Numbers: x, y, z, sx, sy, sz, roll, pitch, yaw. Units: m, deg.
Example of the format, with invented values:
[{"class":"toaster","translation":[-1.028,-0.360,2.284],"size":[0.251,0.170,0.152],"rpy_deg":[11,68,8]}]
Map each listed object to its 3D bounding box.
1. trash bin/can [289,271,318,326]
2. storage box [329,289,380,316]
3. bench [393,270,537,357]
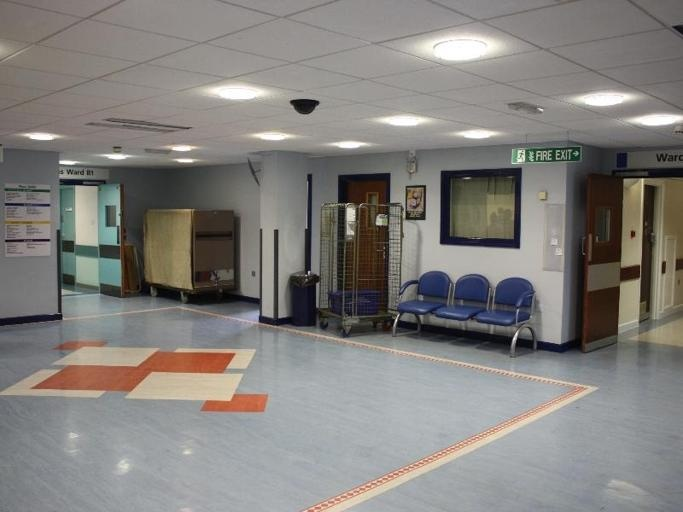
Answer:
[{"class":"trash bin/can","translation":[-0.659,0.799,8.920],"size":[0.492,0.986,0.285],"rpy_deg":[-1,4,-5]},{"class":"storage box","translation":[0.320,0.831,8.612],"size":[0.697,0.303,0.454],"rpy_deg":[3,-3,-31]},{"class":"bench","translation":[1.954,0.887,7.855],"size":[0.874,1.091,2.218],"rpy_deg":[-9,9,-44]}]
